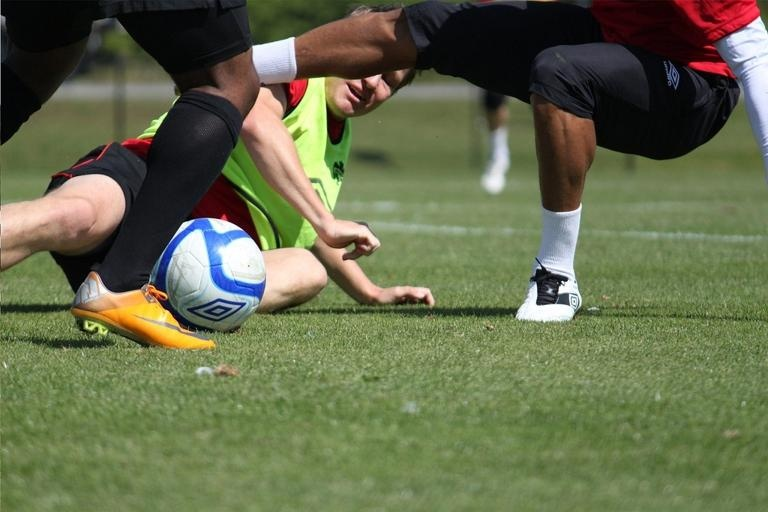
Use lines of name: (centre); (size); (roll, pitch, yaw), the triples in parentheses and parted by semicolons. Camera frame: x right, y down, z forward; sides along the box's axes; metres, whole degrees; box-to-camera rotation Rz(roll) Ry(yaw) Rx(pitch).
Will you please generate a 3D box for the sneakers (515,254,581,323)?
sneakers: (0.555, 0.126, 3.123); (0.112, 0.143, 0.310); (3, 13, 18)
